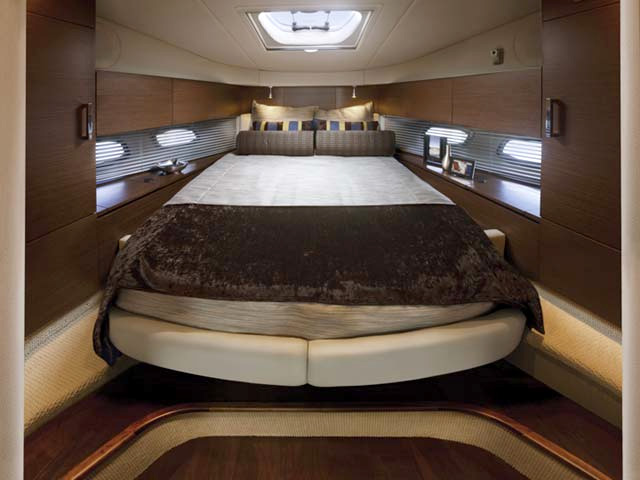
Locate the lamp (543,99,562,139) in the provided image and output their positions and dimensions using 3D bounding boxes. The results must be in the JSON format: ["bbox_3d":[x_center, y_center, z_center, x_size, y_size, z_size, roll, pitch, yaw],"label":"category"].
[{"bbox_3d":[1.168,-0.612,2.069,0.034,0.190,0.113,-2,14,-13],"label":"lamp"}]

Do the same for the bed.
[{"bbox_3d":[0.001,0.197,2.269,1.985,0.807,1.194,3,14,4],"label":"bed"}]
